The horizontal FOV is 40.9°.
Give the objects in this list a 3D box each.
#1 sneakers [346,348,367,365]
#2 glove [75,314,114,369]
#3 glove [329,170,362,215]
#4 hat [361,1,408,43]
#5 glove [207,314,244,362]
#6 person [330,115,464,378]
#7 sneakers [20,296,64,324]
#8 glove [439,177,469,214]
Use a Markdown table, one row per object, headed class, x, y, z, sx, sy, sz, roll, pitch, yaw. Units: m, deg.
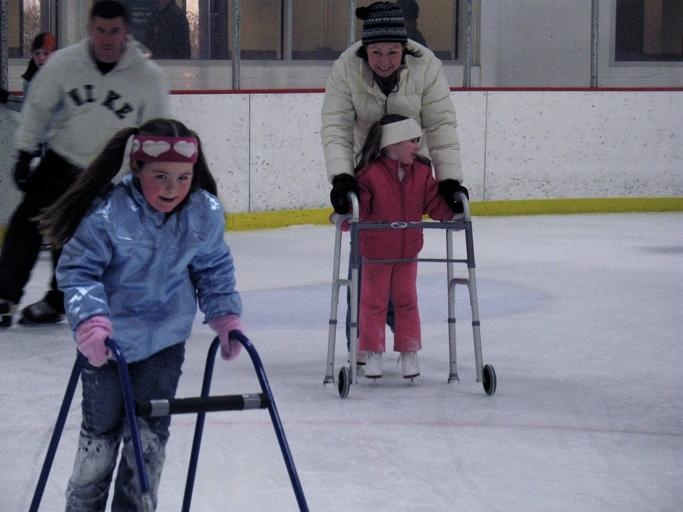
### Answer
| class | x | y | z | sx | sy | sz | roll | pitch | yaw |
| --- | --- | --- | --- | --- | --- | --- | --- | --- | --- |
| sneakers | 0.079 | 0.551 | 4.850 | 0.095 | 0.125 | 0.130 | 1 | -1 | -2 |
| glove | -0.764 | 0.261 | 2.830 | 0.111 | 0.148 | 0.055 | 1 | 3 | 28 |
| glove | 0.004 | -0.310 | 4.565 | 0.144 | 0.200 | 0.062 | 6 | -7 | -31 |
| hat | 0.203 | -1.198 | 4.688 | 0.260 | 0.224 | 0.200 | -3 | 4 | 0 |
| glove | -0.384 | 0.275 | 3.073 | 0.048 | 0.143 | 0.107 | -13 | 6 | -7 |
| person | 0.327 | -0.032 | 4.721 | 0.496 | 1.374 | 0.392 | -1 | 8 | 2 |
| sneakers | -1.945 | 0.356 | 5.998 | 0.294 | 0.203 | 0.137 | -6 | 8 | -15 |
| glove | 0.590 | -0.299 | 4.662 | 0.164 | 0.173 | 0.240 | -2 | 8 | -6 |
